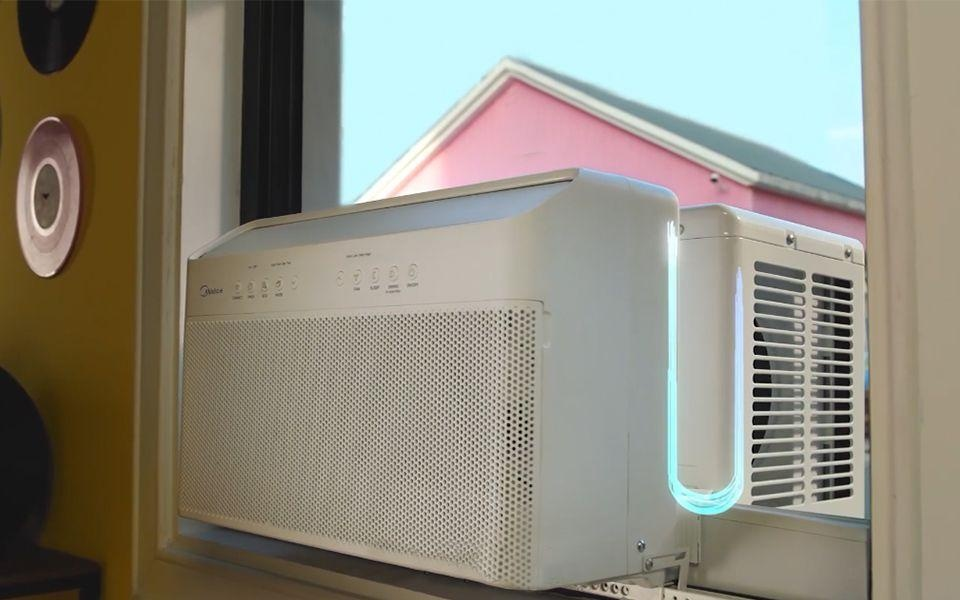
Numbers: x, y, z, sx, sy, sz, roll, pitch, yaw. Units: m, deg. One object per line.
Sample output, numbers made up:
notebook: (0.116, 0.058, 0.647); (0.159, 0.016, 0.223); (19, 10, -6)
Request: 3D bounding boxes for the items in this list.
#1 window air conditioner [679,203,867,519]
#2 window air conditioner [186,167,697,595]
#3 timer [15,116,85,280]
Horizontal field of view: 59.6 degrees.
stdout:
window air conditioner: (0.487, 0.102, 1.386); (0.343, 0.478, 0.149); (6, -14, -16)
window air conditioner: (-0.142, 0.139, 1.676); (0.936, 0.668, 0.523); (-3, -6, 42)
timer: (-1.055, -0.246, 2.050); (0.282, 0.376, 0.087); (-9, -18, 39)
